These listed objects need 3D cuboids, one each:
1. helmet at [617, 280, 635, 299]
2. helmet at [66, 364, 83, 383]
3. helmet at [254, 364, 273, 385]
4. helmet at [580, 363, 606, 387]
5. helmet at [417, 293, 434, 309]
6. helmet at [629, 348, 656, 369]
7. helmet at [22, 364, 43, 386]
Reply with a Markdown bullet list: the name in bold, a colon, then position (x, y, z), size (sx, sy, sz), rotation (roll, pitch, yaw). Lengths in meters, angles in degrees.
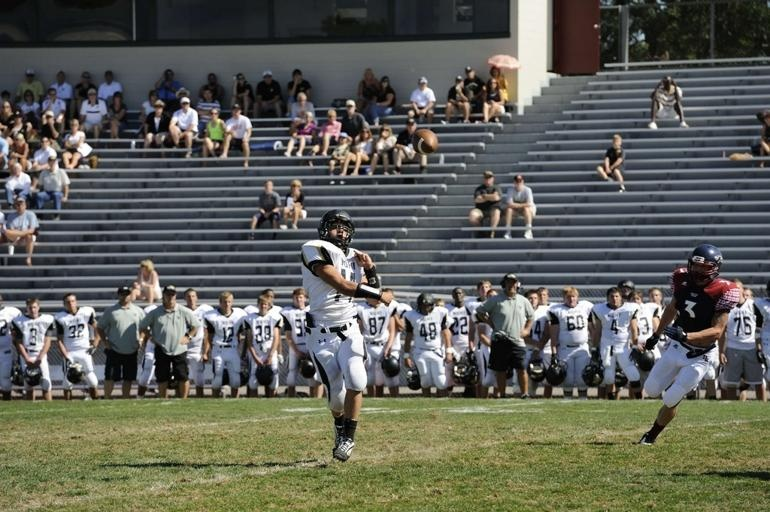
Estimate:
- **helmet**: position (5.243, 0.698, 41.937), size (0.313, 0.398, 0.393), rotation (0, -2, -3)
- **helmet**: position (-6.762, 2.527, 42.293), size (0.299, 0.404, 0.397), rotation (5, -3, -4)
- **helmet**: position (-2.639, 2.485, 42.014), size (0.383, 0.536, 0.387), rotation (-4, 35, -11)
- **helmet**: position (4.406, 2.501, 41.326), size (0.365, 0.324, 0.496), rotation (-2, 10, 1)
- **helmet**: position (0.880, 0.934, 41.686), size (0.282, 0.334, 0.329), rotation (-4, -26, -19)
- **helmet**: position (5.433, 2.131, 41.020), size (0.390, 0.396, 0.475), rotation (35, 13, 32)
- **helmet**: position (-7.706, 2.551, 42.518), size (0.358, 0.456, 0.396), rotation (-6, 8, -22)
